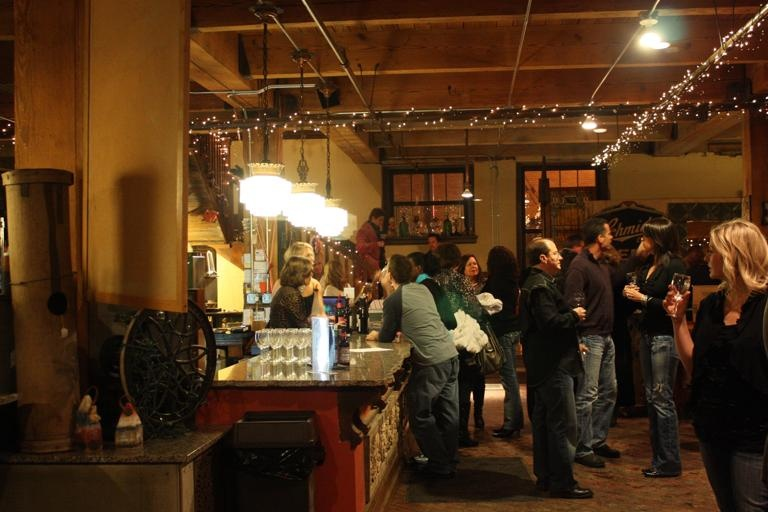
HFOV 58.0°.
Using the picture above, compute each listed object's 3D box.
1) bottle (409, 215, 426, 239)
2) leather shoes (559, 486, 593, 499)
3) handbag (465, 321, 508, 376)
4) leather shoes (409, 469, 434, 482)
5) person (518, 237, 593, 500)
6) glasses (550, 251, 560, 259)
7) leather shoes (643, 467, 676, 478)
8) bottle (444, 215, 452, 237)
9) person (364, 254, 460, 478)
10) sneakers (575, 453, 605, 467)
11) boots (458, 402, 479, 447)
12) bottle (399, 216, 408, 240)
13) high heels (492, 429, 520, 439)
[{"bbox_3d":[0.701,-0.587,14.273,0.414,0.464,0.420,-1,0,0],"label":"bottle"},{"bbox_3d":[1.737,2.141,6.305,0.323,0.139,0.121,-3,-3,4],"label":"leather shoes"},{"bbox_3d":[1.109,1.012,7.561,0.441,0.521,0.339,0,-2,-6],"label":"handbag"},{"bbox_3d":[0.380,2.203,6.950,0.169,0.056,0.109,-3,-3,18],"label":"leather shoes"},{"bbox_3d":[1.538,1.007,6.274,0.564,2.361,0.536,-1,-2,16],"label":"person"},{"bbox_3d":[1.596,-0.007,6.462,0.067,0.049,0.092,2,-15,-3],"label":"glasses"},{"bbox_3d":[2.693,2.118,6.741,0.273,0.087,0.112,3,-7,4],"label":"leather shoes"},{"bbox_3d":[1.323,-0.595,14.197,0.169,0.425,0.297,-1,-2,17],"label":"bottle"},{"bbox_3d":[0.375,1.226,6.758,0.798,1.905,0.365,0,-2,-14],"label":"person"},{"bbox_3d":[2.119,2.096,7.105,0.256,0.104,0.133,-3,-1,22],"label":"sneakers"},{"bbox_3d":[0.982,1.919,7.884,0.188,0.475,0.259,-2,-2,29],"label":"boots"},{"bbox_3d":[0.392,-0.551,14.032,0.202,0.433,0.221,-1,-2,0],"label":"bottle"},{"bbox_3d":[1.444,2.106,8.212,0.334,0.146,0.122,4,-6,-1],"label":"high heels"}]
